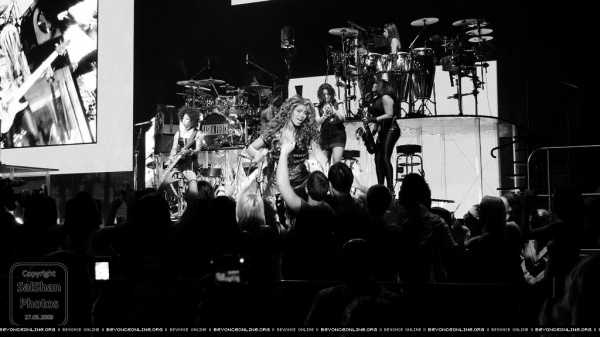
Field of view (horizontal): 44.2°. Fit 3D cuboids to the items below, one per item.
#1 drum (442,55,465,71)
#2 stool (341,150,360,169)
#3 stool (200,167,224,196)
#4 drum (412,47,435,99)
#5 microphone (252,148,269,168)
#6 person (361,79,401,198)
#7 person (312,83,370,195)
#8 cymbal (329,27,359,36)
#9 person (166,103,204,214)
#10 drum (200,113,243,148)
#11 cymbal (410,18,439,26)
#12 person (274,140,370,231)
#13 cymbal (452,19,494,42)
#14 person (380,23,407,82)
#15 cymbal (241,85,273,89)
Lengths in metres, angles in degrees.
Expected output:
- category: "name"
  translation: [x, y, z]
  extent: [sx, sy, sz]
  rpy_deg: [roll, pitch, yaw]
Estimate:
- category: "drum"
  translation: [3.586, -2.486, 17.494]
  extent: [0.534, 0.391, 0.214]
  rpy_deg: [-6, -9, 39]
- category: "stool"
  translation: [1.129, -0.189, 16.418]
  extent: [0.453, 0.403, 0.453]
  rpy_deg: [-1, 0, 6]
- category: "stool"
  translation: [-2.104, 0.296, 17.801]
  extent: [0.818, 0.772, 0.774]
  rpy_deg: [-2, -3, 0]
- category: "drum"
  translation: [2.832, -2.215, 17.026]
  extent: [0.515, 1.113, 0.876]
  rpy_deg: [-2, -7, 9]
- category: "microphone"
  translation: [-0.710, -0.205, 14.019]
  extent: [0.169, 0.296, 0.411]
  rpy_deg: [21, 21, -1]
- category: "person"
  translation: [1.617, -0.662, 15.140]
  extent: [0.925, 2.331, 0.799]
  rpy_deg: [-1, 1, 5]
- category: "person"
  translation: [0.714, -0.672, 15.190]
  extent: [0.981, 2.399, 1.335]
  rpy_deg: [1, 2, 15]
- category: "cymbal"
  translation: [1.085, -3.362, 17.981]
  extent: [0.658, 0.156, 0.548]
  rpy_deg: [-3, -6, 15]
- category: "person"
  translation: [-2.743, -0.025, 17.912]
  extent: [0.939, 2.866, 1.358]
  rpy_deg: [-1, 1, -39]
- category: "drum"
  translation: [-1.910, -0.956, 18.106]
  extent: [1.065, 0.871, 0.475]
  rpy_deg: [0, -7, -9]
- category: "cymbal"
  translation: [3.034, -3.595, 17.924]
  extent: [0.407, 0.092, 0.382]
  rpy_deg: [-3, 4, -5]
- category: "person"
  translation: [0.268, 0.289, 11.954]
  extent: [1.445, 0.995, 0.645]
  rpy_deg: [-7, -8, -22]
- category: "cymbal"
  translation: [4.170, -3.343, 17.639]
  extent: [0.755, 0.319, 0.754]
  rpy_deg: [-5, -16, 35]
- category: "person"
  translation: [2.043, -2.614, 17.291]
  extent: [0.517, 1.586, 0.605]
  rpy_deg: [-2, 23, -5]
- category: "cymbal"
  translation: [-1.093, -2.086, 18.828]
  extent: [0.283, 0.052, 0.265]
  rpy_deg: [-2, 3, -19]
